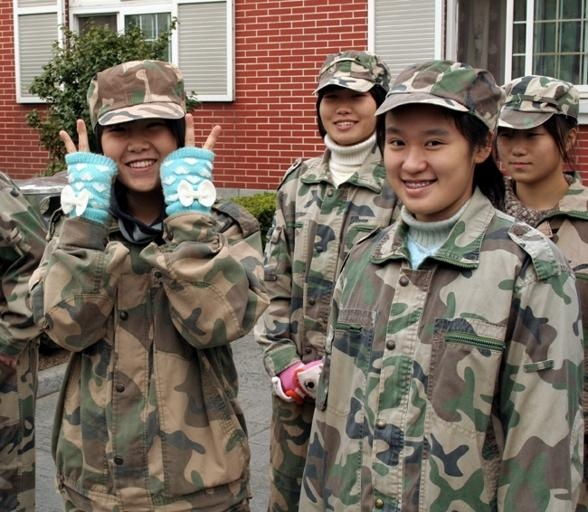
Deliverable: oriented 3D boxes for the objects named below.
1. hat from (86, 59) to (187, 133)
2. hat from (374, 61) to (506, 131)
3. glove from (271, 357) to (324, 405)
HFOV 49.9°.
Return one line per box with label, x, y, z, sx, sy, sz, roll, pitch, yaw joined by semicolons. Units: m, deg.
hat;-0.652;-0.675;2.620;0.266;0.199;0.373;-5;5;-3
hat;0.497;-0.471;2.065;0.304;0.164;0.234;-2;11;-43
glove;0.051;0.642;3.363;0.283;0.247;0.151;-19;35;40
